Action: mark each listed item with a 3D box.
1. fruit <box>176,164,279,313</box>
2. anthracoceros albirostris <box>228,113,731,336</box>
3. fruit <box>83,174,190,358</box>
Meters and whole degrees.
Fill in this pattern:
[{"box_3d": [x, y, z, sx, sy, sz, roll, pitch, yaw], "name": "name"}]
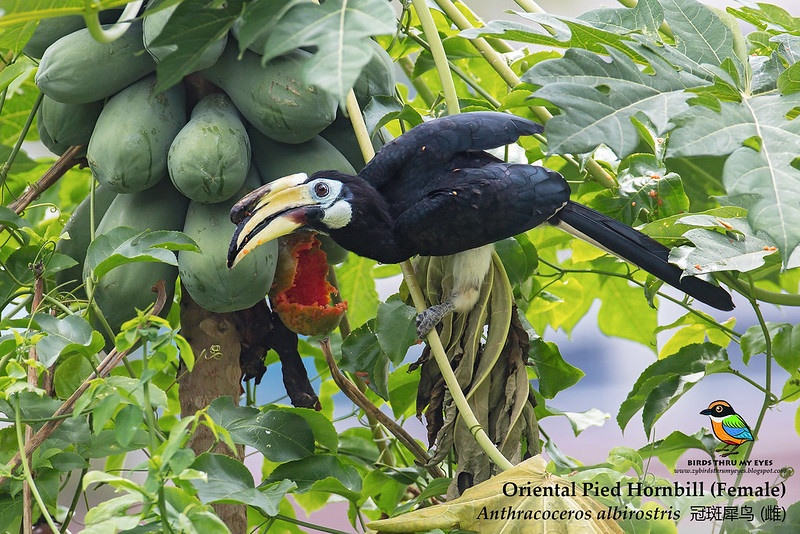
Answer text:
[{"box_3d": [-0.281, -0.035, 1.649, 0.135, 0.185, 0.112, -9, 16, -30], "name": "fruit"}, {"box_3d": [0.108, -0.047, 1.599, 0.744, 0.383, 0.169, -13, 8, -9], "name": "anthracoceros albirostris"}, {"box_3d": [-0.417, -0.007, 1.656, 0.133, 0.281, 0.155, -4, 5, -44], "name": "fruit"}]
